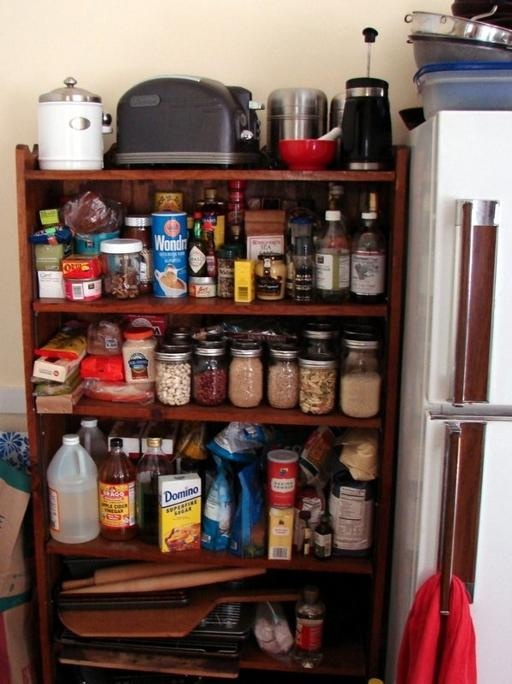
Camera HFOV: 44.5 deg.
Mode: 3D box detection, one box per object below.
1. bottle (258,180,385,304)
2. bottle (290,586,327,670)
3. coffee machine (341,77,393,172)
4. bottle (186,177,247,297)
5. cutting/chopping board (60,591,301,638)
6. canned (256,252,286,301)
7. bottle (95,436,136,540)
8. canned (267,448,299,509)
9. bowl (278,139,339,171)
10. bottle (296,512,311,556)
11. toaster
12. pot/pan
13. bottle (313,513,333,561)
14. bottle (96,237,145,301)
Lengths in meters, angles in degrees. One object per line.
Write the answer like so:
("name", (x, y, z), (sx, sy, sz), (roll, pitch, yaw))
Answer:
("bottle", (0.162, -0.229, 1.451), (0.278, 0.259, 0.215), (4, 15, 28))
("bottle", (0.135, 0.715, 1.565), (0.081, 0.173, 0.079), (3, -9, 0))
("coffee machine", (0.234, -0.471, 1.358), (0.136, 0.171, 0.119), (-17, 25, -34))
("bottle", (-0.089, -0.247, 1.508), (0.131, 0.268, 0.159), (0, 14, 14))
("cutting/chopping board", (-0.221, 0.677, 1.538), (0.453, 0.060, 0.212), (0, 0, -2))
("canned", (0.033, -0.159, 1.477), (0.080, 0.104, 0.101), (4, 19, 13))
("bottle", (-0.350, 0.374, 1.592), (0.140, 0.241, 0.135), (0, 3, 0))
("canned", (0.063, 0.339, 1.533), (0.082, 0.115, 0.078), (0, 4, -21))
("bowl", (0.105, -0.404, 1.348), (0.092, 0.042, 0.090), (0, 18, 0))
("bottle", (0.116, 0.467, 1.529), (0.041, 0.098, 0.078), (-2, 25, -3))
("toaster", (-0.162, -0.518, 1.475), (0.374, 0.195, 0.366), (14, 22, 40))
("pot/pan", (-0.406, -0.489, 1.413), (0.186, 0.187, 0.131), (-4, 17, -23))
("bottle", (0.160, 0.469, 1.514), (0.049, 0.105, 0.070), (-1, 14, 9))
("bottle", (-0.322, -0.176, 1.520), (0.106, 0.133, 0.103), (2, 14, 0))
